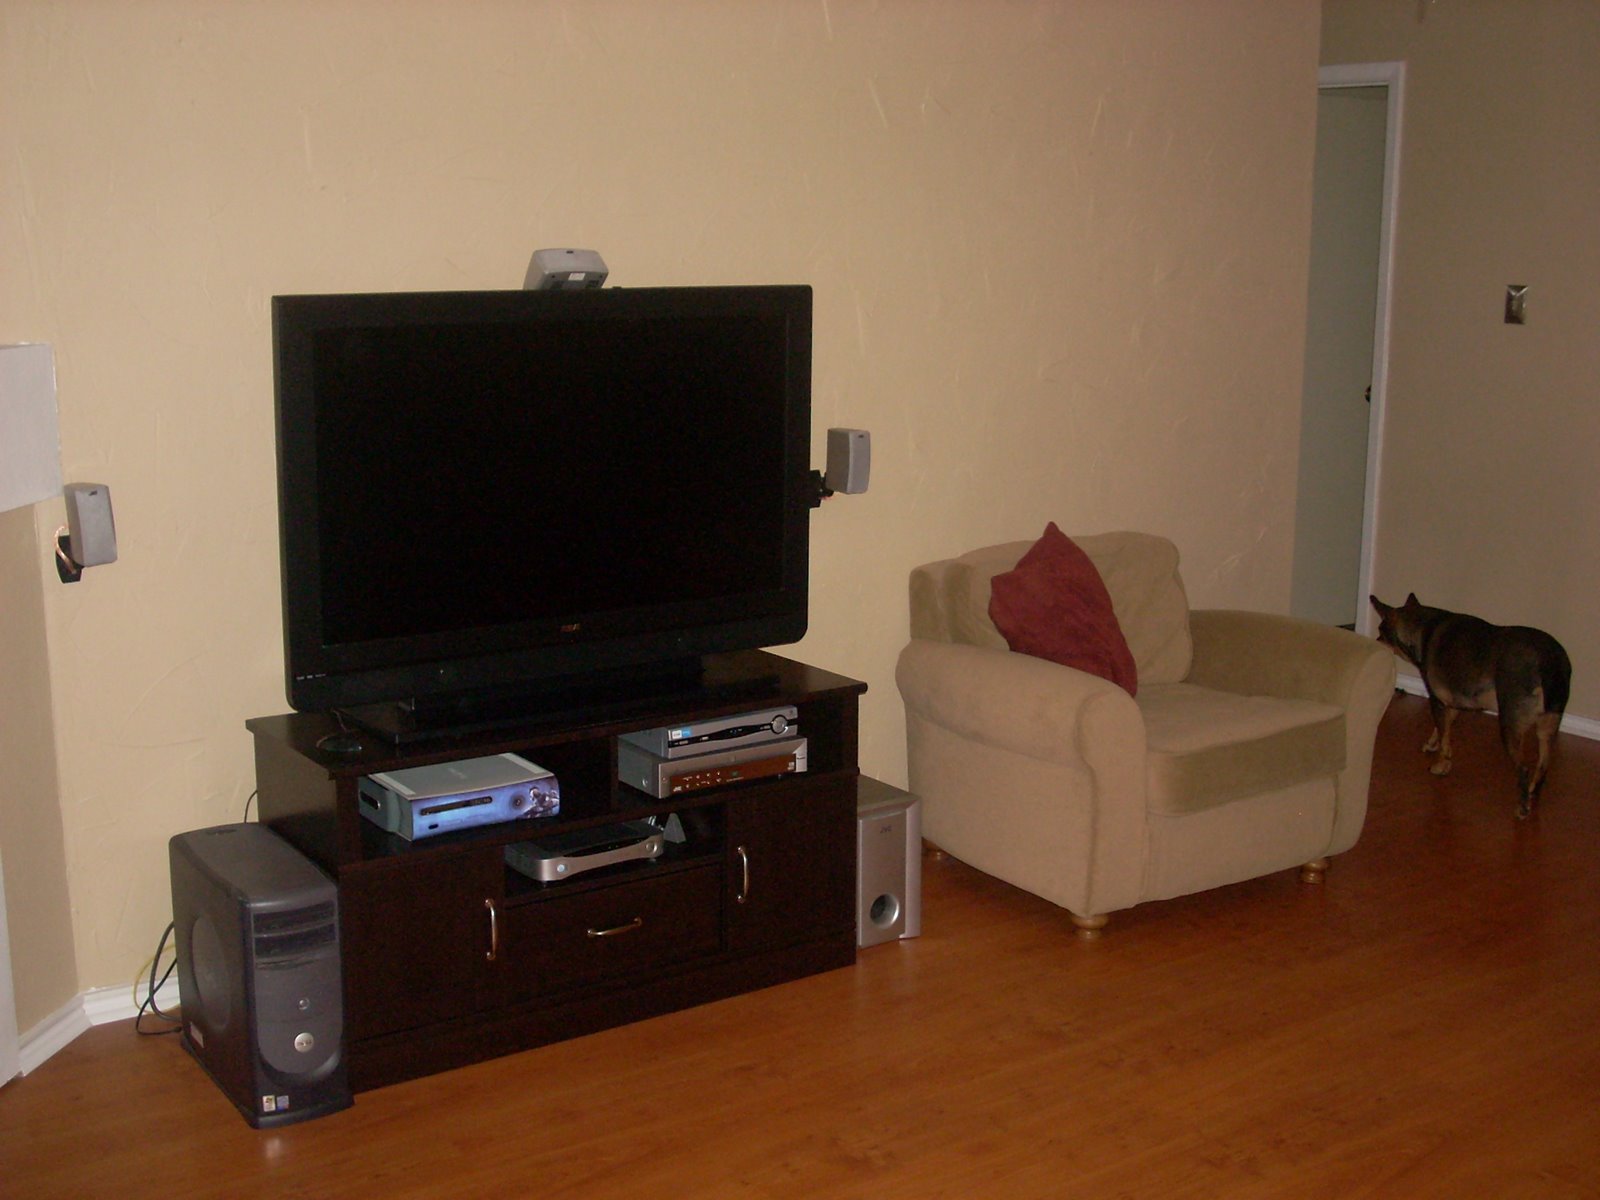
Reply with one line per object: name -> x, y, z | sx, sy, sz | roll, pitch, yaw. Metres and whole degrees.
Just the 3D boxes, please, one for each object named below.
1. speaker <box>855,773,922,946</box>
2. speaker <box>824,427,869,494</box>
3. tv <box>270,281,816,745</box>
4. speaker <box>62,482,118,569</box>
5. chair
speaker -> 0.210, 0.739, 3.999 | 0.204, 0.398, 0.374 | -3, 11, -6
speaker -> 0.138, -0.410, 4.031 | 0.130, 0.177, 0.140 | 1, 14, 1
tv -> -0.689, -0.220, 3.419 | 1.080, 0.831, 0.087 | -8, 14, -35
speaker -> -1.621, -0.170, 3.150 | 0.115, 0.190, 0.040 | -10, 11, -39
chair -> 1.106, 0.363, 4.441 | 1.346, 1.081, 1.047 | -6, 8, -25
